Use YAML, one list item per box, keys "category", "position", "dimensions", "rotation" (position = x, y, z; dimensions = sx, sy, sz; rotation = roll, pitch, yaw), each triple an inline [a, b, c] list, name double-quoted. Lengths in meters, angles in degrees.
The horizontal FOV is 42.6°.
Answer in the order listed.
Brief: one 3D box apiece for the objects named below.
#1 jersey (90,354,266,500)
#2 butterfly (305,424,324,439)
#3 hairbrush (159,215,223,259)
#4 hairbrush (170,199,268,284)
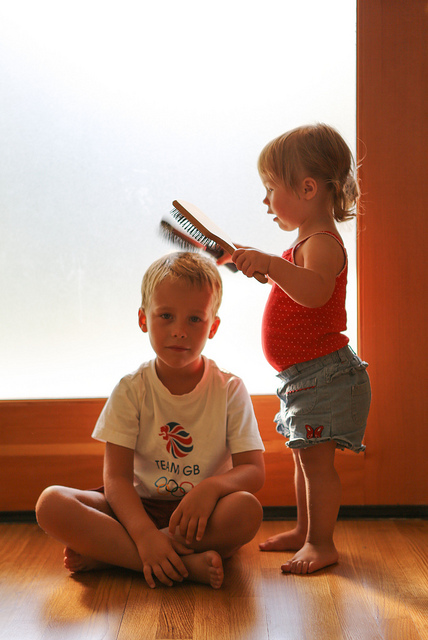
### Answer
- category: "jersey"
  position: [-0.055, 0.188, 0.957]
  dimensions: [0.284, 0.245, 0.148]
  rotation: [0, 1, 4]
- category: "butterfly"
  position: [0.164, 0.181, 0.883]
  dimensions: [0.026, 0.019, 0.002]
  rotation: [0, -19, 10]
- category: "hairbrush"
  position: [-0.033, -0.145, 0.960]
  dimensions: [0.105, 0.027, 0.061]
  rotation: [37, -5, -1]
- category: "hairbrush"
  position: [0.003, -0.136, 0.958]
  dimensions: [0.217, 0.032, 0.052]
  rotation: [46, 32, 22]
